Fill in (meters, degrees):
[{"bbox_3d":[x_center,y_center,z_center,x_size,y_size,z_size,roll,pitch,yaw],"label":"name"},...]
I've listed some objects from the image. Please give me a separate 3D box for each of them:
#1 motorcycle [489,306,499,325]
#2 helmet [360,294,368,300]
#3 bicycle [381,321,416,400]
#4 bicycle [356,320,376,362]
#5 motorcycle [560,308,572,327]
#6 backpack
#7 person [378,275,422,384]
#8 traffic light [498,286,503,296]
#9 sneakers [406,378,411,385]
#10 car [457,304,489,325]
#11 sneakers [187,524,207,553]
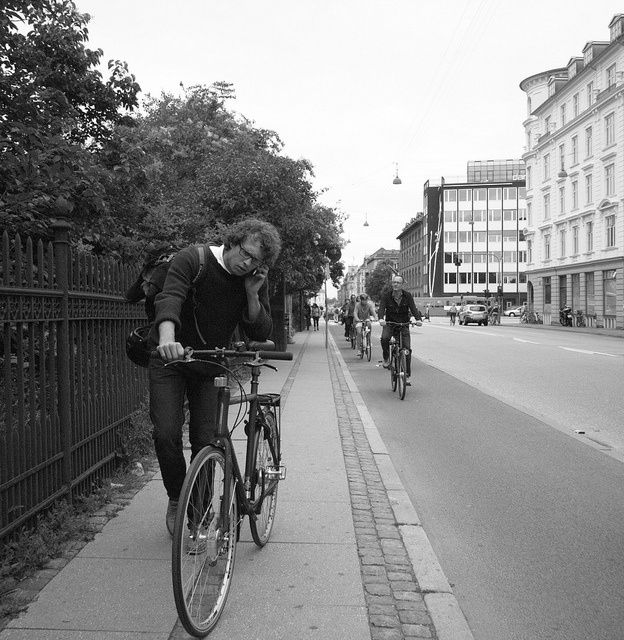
[{"bbox_3d":[14.323,-0.193,51.294,0.848,1.584,1.952,4,10,12],"label":"motorcycle"},{"bbox_3d":[1.337,-0.586,16.924,0.197,0.167,0.439,1,5,4],"label":"helmet"},{"bbox_3d":[1.330,0.485,10.274,0.392,0.905,1.244,2,18,-5],"label":"bicycle"},{"bbox_3d":[1.383,0.550,17.659,0.574,1.123,1.503,-3,5,-9],"label":"bicycle"},{"bbox_3d":[16.892,-0.188,43.322,0.779,1.224,2.131,2,5,22],"label":"motorcycle"},{"bbox_3d":[-0.871,-0.051,3.712,0.297,0.715,0.338,7,-1,17],"label":"backpack"},{"bbox_3d":[1.354,0.086,10.526,0.409,1.713,0.783,3,8,-3],"label":"person"},{"bbox_3d":[14.146,-2.229,49.185,0.258,0.817,1.154,1,4,11],"label":"traffic light"},{"bbox_3d":[1.462,0.927,9.946,0.035,0.124,0.383,1,5,12],"label":"sneakers"},{"bbox_3d":[12.069,-0.292,48.727,1.010,1.400,2.739,0,6,4],"label":"car"},{"bbox_3d":[-0.515,0.981,2.909,0.040,0.072,0.146,2,5,1],"label":"sneakers"}]
